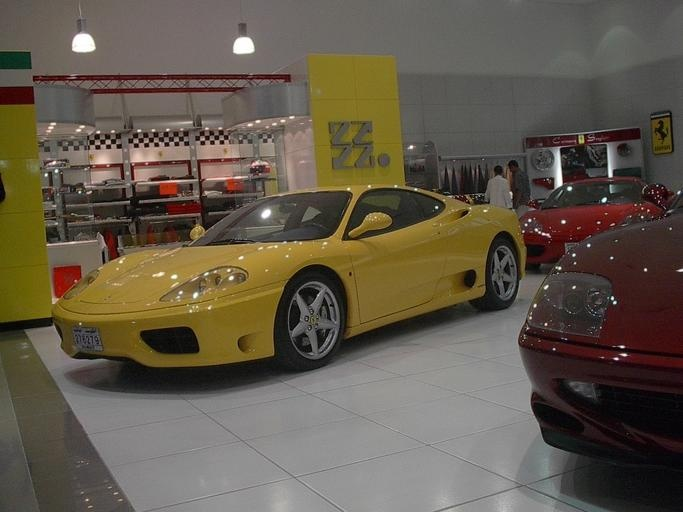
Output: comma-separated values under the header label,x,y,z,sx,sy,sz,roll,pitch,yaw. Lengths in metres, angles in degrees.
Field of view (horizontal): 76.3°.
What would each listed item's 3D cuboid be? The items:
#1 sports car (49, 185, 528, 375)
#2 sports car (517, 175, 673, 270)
label,x,y,z,sx,sy,sz,roll,pitch,yaw
sports car,-0.121,0.138,3.420,3.098,0.996,1.673,-9,2,-42
sports car,3.469,-0.753,6.369,2.196,0.676,1.006,-10,25,34
